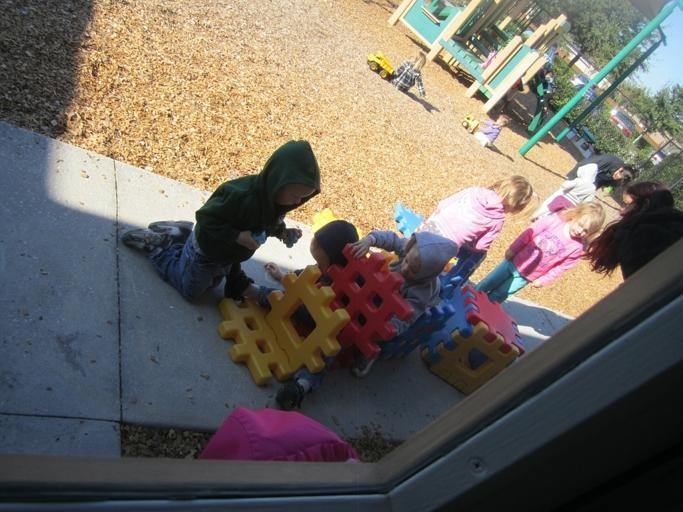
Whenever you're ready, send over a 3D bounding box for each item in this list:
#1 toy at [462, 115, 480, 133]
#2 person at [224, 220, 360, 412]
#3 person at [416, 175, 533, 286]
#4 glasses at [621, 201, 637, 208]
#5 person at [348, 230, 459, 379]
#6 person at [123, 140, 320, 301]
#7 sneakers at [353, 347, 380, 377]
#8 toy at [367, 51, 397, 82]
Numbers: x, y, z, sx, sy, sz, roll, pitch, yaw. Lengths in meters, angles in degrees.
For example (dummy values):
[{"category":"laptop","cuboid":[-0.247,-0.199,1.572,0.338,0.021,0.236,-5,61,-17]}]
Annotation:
[{"category":"toy","cuboid":[2.052,-2.112,10.530,0.249,0.190,0.266,46,50,4]},{"category":"person","cuboid":[-0.305,0.406,4.070,0.425,0.651,0.856,16,35,-25]},{"category":"person","cuboid":[1.137,-0.207,5.642,0.402,1.146,0.447,-2,58,-52]},{"category":"glasses","cuboid":[1.341,-0.243,3.056,0.048,0.049,0.014,-47,117,-28]},{"category":"person","cuboid":[0.395,0.351,4.337,0.405,0.903,0.468,-1,59,-25]},{"category":"person","cuboid":[-0.658,-0.320,4.020,0.933,1.149,0.571,31,24,-9]},{"category":"sneakers","cuboid":[0.156,0.729,4.340,0.144,0.211,0.070,24,-17,41]},{"category":"toy","cuboid":[0.590,-2.770,9.513,0.463,0.238,0.283,37,22,-24]}]
